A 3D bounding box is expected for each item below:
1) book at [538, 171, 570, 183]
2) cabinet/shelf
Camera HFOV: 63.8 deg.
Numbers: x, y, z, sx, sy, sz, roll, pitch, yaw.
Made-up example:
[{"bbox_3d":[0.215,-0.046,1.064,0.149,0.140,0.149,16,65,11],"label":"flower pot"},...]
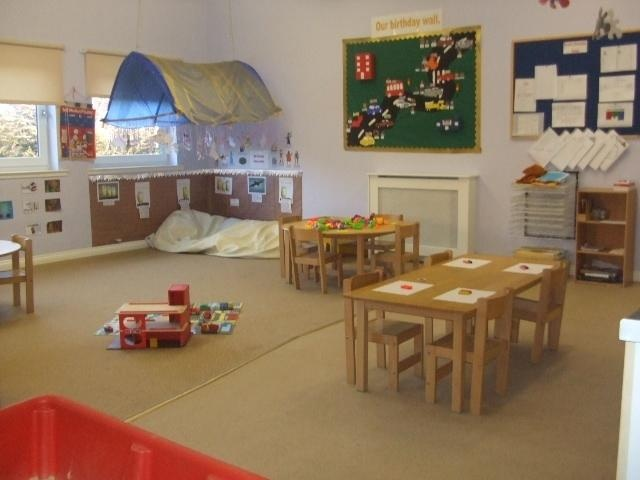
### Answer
[{"bbox_3d":[2.648,-0.712,5.824,0.267,0.122,0.291,8,15,36],"label":"book"},{"bbox_3d":[3.105,-0.079,5.587,0.611,1.054,0.438,6,13,31],"label":"cabinet/shelf"}]
